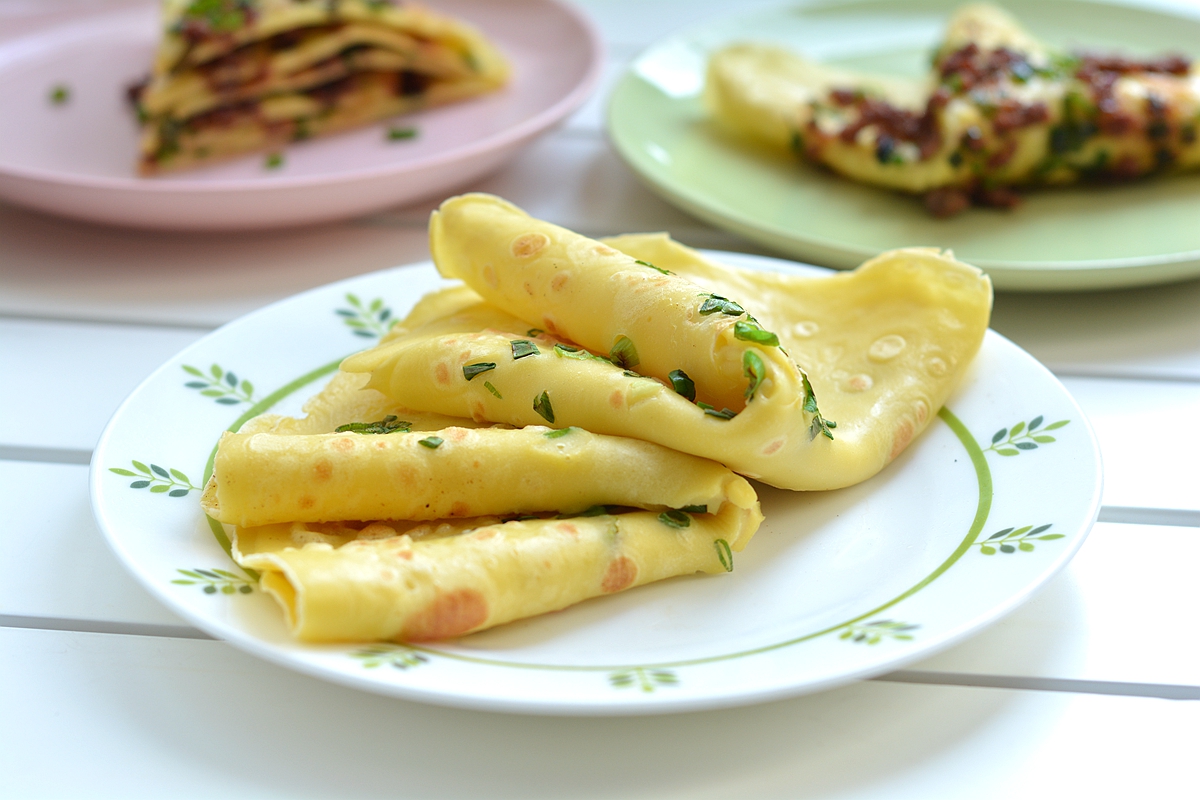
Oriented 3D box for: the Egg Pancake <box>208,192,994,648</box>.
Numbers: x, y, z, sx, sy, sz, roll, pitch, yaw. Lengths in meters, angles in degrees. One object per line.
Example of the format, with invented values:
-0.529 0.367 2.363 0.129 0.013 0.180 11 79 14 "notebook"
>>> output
0.010 0.029 1.129 0.665 0.161 0.479 -12 34 -18 "Egg Pancake"
